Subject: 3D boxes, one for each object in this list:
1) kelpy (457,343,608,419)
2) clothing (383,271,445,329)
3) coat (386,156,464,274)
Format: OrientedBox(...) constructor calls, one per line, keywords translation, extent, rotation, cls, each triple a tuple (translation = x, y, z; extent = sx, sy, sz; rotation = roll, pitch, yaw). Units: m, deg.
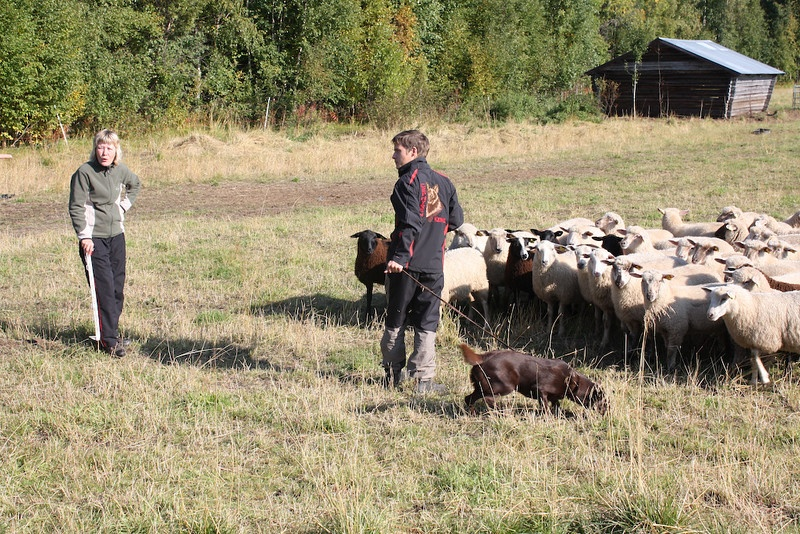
OrientedBox(translation=(3.422, 2.878, 31.013), extent=(3.577, 1.832, 0.449), rotation=(0, 11, 2), cls="kelpy")
OrientedBox(translation=(0.332, 0.886, 31.767), extent=(1.452, 2.048, 0.754), rotation=(-1, 25, -9), cls="clothing")
OrientedBox(translation=(0.577, -1.389, 31.371), extent=(1.851, 3.049, 0.772), rotation=(-2, 11, -8), cls="coat")
